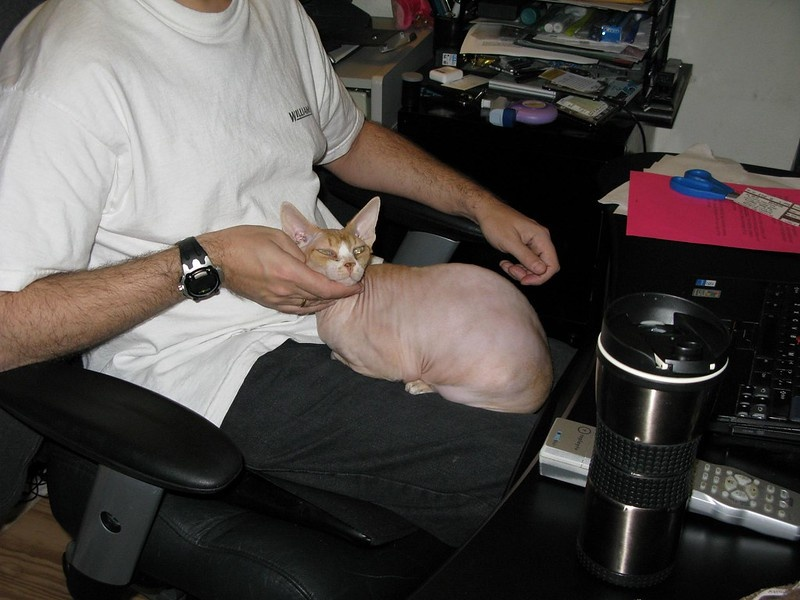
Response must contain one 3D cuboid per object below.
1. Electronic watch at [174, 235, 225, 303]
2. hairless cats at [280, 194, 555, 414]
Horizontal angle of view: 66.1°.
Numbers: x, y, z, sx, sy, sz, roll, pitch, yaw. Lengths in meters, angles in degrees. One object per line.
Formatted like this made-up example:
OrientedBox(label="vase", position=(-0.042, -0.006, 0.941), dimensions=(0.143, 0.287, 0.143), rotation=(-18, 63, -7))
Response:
OrientedBox(label="Electronic watch", position=(-0.310, -0.057, 0.976), dimensions=(0.069, 0.090, 0.095), rotation=(-22, 39, -13))
OrientedBox(label="hairless cats", position=(0.035, 0.040, 1.179), dimensions=(0.588, 0.265, 0.255), rotation=(17, 68, 5))
